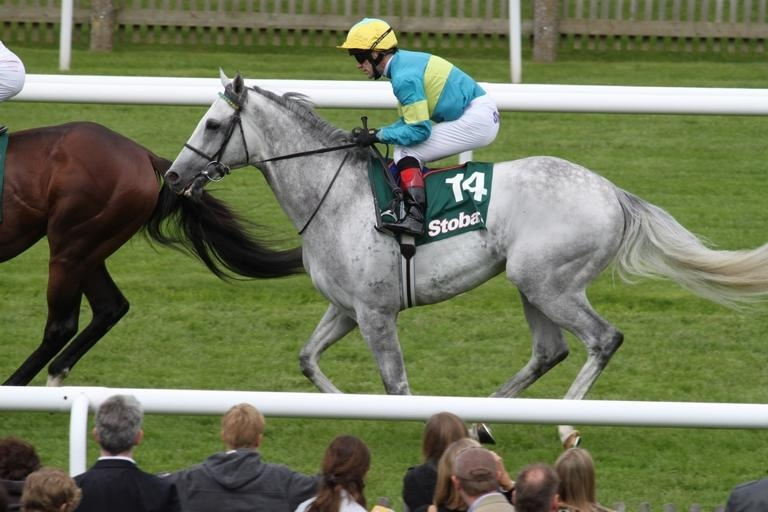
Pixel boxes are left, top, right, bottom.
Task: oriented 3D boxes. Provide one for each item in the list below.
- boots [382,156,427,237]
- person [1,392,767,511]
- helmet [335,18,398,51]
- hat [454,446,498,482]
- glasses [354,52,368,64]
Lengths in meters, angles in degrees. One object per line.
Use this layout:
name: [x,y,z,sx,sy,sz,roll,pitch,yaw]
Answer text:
boots: [0.137,-0.353,9.562,0.222,0.449,0.278,3,12,4]
person: [-0.010,0.915,8.390,3.904,0.435,0.194,1,12,0]
helmet: [-0.081,-1.323,9.712,0.308,0.119,0.202,3,7,-4]
hat: [0.466,1.055,8.268,0.178,0.144,0.177,4,46,0]
glasses: [-0.135,-1.181,9.726,0.064,0.053,0.070,-5,-13,-1]
